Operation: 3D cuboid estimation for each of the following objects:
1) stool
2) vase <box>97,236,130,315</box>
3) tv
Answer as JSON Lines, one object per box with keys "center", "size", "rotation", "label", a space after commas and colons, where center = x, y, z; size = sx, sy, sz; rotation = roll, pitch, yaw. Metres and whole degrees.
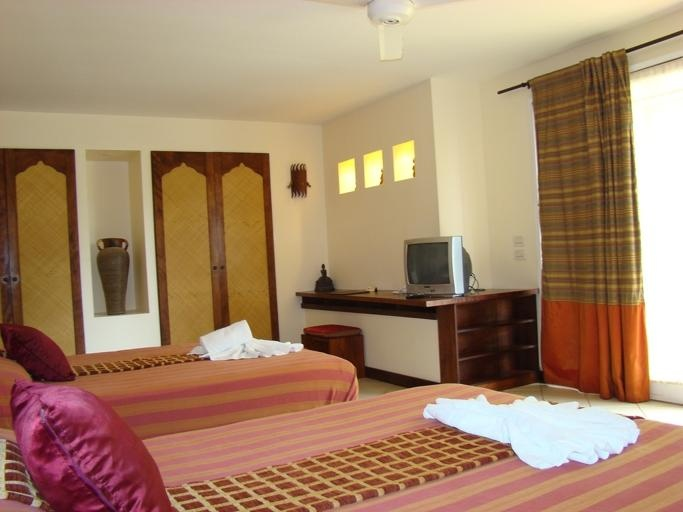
{"center": [-0.118, 1.146, 6.056], "size": [0.438, 0.593, 0.749], "rotation": [-1, -3, -29], "label": "stool"}
{"center": [-2.625, 0.225, 5.974], "size": [0.324, 0.595, 0.385], "rotation": [-3, 2, -23], "label": "vase"}
{"center": [0.996, 0.105, 5.084], "size": [0.445, 0.575, 0.738], "rotation": [-2, -1, -35], "label": "tv"}
